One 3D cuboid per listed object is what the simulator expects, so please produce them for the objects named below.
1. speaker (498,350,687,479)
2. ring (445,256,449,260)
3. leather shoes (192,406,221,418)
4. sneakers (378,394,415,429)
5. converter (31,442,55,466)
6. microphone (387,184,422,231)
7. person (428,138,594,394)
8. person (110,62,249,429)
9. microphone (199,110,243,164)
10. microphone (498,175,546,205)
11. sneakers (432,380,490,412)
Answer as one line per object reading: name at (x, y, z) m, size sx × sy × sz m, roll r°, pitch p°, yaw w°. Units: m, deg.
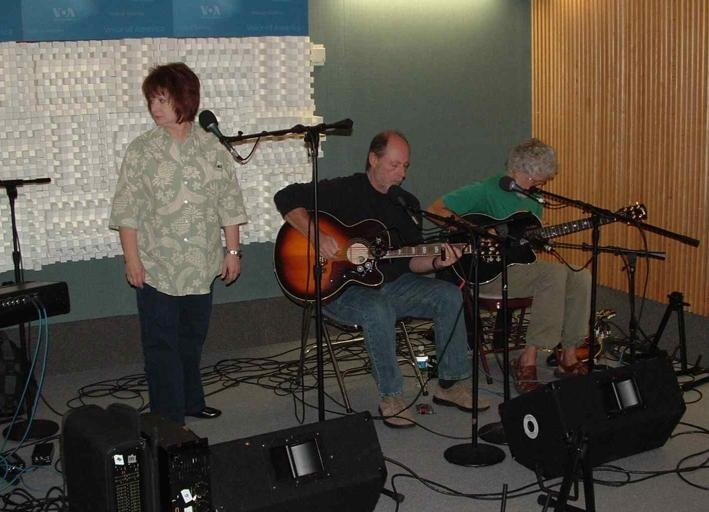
speaker at (1.416, 0.934, 4.140) m, size 1.064 × 0.588 × 0.483 m, roll -7°, pitch 6°, yaw -20°
ring at (0.612, 0.002, 4.745) m, size 0.025 × 0.014 × 0.004 m, roll -3°, pitch 4°, yaw -22°
leather shoes at (-1.026, 1.100, 5.007) m, size 0.210 × 0.094 × 0.082 m, roll -7°, pitch 6°, yaw 2°
sneakers at (0.282, 1.032, 4.886) m, size 0.229 × 0.213 × 0.266 m, roll -5°, pitch 6°, yaw 0°
converter at (-1.918, 1.222, 4.431) m, size 0.096 × 0.068 × 0.141 m, roll 3°, pitch 24°, yaw -7°
microphone at (0.314, -0.382, 4.406) m, size 0.128 × 0.166 × 0.450 m, roll -26°, pitch 18°, yaw -2°
person at (1.373, 0.127, 5.646) m, size 0.918 × 2.268 × 0.329 m, roll -2°, pitch 4°, yaw -18°
person at (-1.139, -0.051, 4.701) m, size 0.834 × 2.419 × 0.382 m, roll -6°, pitch 6°, yaw -20°
microphone at (-0.800, -0.732, 4.294) m, size 0.204 × 0.300 × 0.455 m, roll -5°, pitch 6°, yaw -4°
microphone at (1.167, -0.487, 5.065) m, size 0.340 × 0.091 × 0.146 m, roll 27°, pitch 35°, yaw -19°
sneakers at (0.739, 0.988, 5.081) m, size 0.411 × 0.209 × 0.176 m, roll 3°, pitch 8°, yaw 23°
